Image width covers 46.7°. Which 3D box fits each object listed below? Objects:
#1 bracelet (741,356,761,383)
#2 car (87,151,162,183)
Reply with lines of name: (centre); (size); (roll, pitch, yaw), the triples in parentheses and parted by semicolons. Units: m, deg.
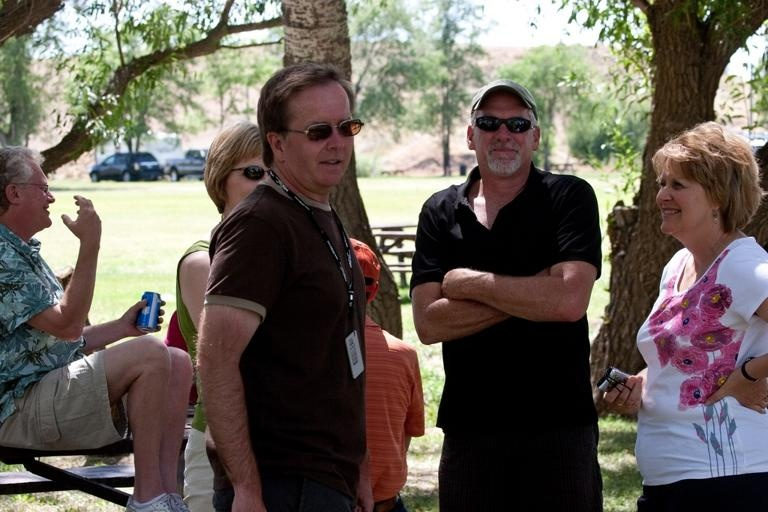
bracelet: (2.084, 0.638, 5.094); (0.082, 0.129, 0.078); (1, 3, -6)
car: (-14.787, -5.182, 50.670); (3.999, 1.372, 1.782); (1, 3, 8)
